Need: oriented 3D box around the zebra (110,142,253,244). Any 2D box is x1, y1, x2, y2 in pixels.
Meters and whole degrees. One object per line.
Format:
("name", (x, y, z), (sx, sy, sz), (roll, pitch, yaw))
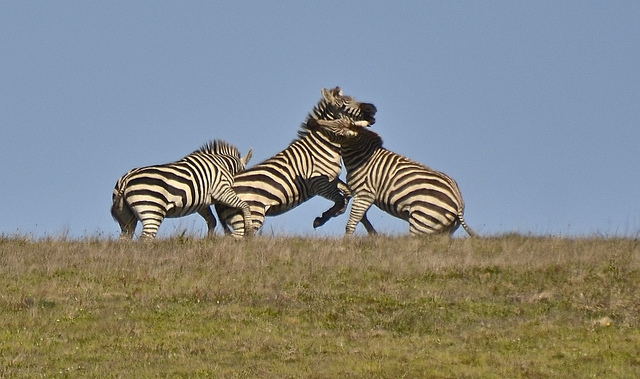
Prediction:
("zebra", (-3.194, -0.103, 27.831), (3.602, 2.992, 3.570), (5, -10, -14))
